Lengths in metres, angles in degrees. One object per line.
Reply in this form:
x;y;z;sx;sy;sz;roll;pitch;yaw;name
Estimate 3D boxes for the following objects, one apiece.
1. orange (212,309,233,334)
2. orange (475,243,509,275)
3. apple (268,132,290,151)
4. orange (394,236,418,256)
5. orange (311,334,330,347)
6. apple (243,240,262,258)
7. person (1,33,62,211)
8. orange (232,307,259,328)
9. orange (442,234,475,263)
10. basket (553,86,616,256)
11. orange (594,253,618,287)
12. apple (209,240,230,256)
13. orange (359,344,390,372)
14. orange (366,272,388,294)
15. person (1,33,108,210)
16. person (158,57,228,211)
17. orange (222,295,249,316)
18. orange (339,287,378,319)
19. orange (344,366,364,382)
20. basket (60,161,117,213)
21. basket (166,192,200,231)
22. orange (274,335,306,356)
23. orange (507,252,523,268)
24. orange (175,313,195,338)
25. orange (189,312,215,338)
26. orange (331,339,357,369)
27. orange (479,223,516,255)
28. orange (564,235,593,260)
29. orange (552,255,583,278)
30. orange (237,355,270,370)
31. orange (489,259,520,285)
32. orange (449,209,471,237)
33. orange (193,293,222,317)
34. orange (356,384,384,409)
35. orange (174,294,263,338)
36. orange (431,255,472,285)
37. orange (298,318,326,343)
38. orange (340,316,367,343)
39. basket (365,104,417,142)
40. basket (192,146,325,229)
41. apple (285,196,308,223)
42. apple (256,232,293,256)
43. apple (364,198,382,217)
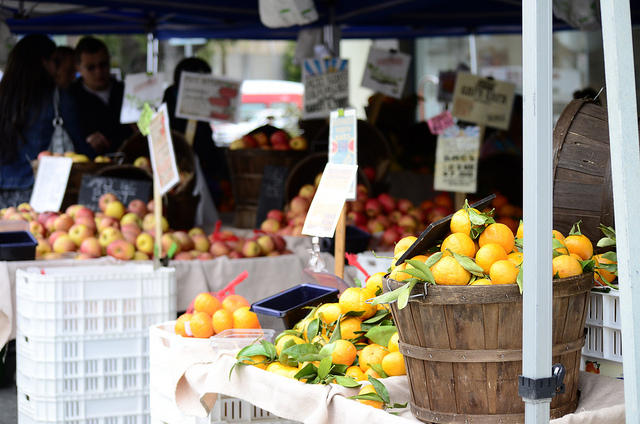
-0.436;0.487;2.878;0.088;0.119;0.094;-1;-11;0;orange
0.597;0.152;2.281;0.098;0.126;0.106;-7;32;2;orange
-0.376;-0.650;5.829;0.123;0.126;0.151;-36;-14;-14;apple
0.346;0.124;2.582;0.067;0.076;0.085;14;17;21;orange
0.004;0.526;2.656;0.061;0.032;0.087;-1;2;-20;orange
-0.497;0.262;4.695;0.106;0.098;0.095;12;-21;7;apple
-2.138;-0.684;4.749;0.435;1.292;0.279;-1;2;-23;person
-0.337;0.481;2.935;0.083;0.095;0.091;-11;17;38;orange
0.506;0.132;2.347;0.101;0.108;0.102;-21;-13;-8;orange
1.199;-0.187;2.929;0.261;0.731;0.400;1;2;21;basket
1.172;0.241;2.675;0.099;0.130;0.103;-8;6;28;orange
-0.735;0.258;4.672;0.102;0.102;0.122;40;19;32;apple
0.214;0.571;2.565;0.095;0.103;0.097;-12;-46;19;orange
0.237;0.295;2.737;0.085;0.114;0.088;0;2;-16;orange
-2.042;-0.643;4.819;0.535;1.317;0.616;-11;15;-43;person
-1.198;-0.727;6.265;0.949;1.337;0.457;6;25;16;person
-0.407;0.425;3.038;0.079;0.089;0.085;1;-40;-3;orange
0.153;0.384;2.734;0.161;0.139;0.170;-2;9;-20;orange
0.135;0.626;2.553;0.048;0.052;0.059;31;13;13;orange
-1.657;-0.206;4.581;0.245;0.337;0.281;-11;15;-43;basket
-1.075;-0.005;5.081;0.109;0.275;0.380;0;2;18;basket
-0.130;0.533;2.653;0.086;0.089;0.105;-35;-38;14;orange
0.703;0.161;2.301;0.042;0.044;0.043;-20;49;-37;orange
-0.615;0.503;2.917;0.087;0.101;0.093;-1;6;-16;orange
-0.525;0.513;2.905;0.098;0.131;0.107;-12;-22;31;orange
0.096;0.558;2.558;0.094;0.123;0.092;7;2;-43;orange
0.655;0.083;2.397;0.122;0.113;0.113;1;33;-43;orange
0.994;0.126;2.468;0.089;0.099;0.092;-11;24;-15;orange
0.874;0.192;2.278;0.085;0.093;0.082;2;4;-32;orange
-0.261;0.594;2.553;0.126;0.057;0.056;-2;3;-44;orange
0.635;0.205;2.222;0.092;0.085;0.079;-4;20;-30;orange
0.520;0.037;2.420;0.078;0.107;0.084;1;-2;3;orange
-0.522;0.398;2.970;0.110;0.099;0.100;-1;19;-17;orange
0.180;0.671;2.342;0.077;0.104;0.082;-14;2;2;orange
-0.480;0.534;3.016;0.299;0.135;0.333;-7;-11;-23;orange
0.478;0.242;2.287;0.118;0.156;0.136;-8;-15;13;orange
-0.033;0.493;2.745;0.089;0.098;0.114;0;-35;-6;orange
0.139;0.476;2.660;0.089;0.120;0.095;2;9;1;orange
0.721;-0.879;6.149;0.342;0.350;0.267;1;13;14;basket
-0.690;-0.280;5.885;0.882;0.624;0.899;0;3;25;basket
-0.229;-0.026;5.396;0.234;0.211;0.102;1;2;32;apple
-0.344;0.239;4.799;0.175;0.086;0.183;25;1;2;apple
0.456;-0.044;5.589;0.142;0.140;0.086;0;2;4;apple
